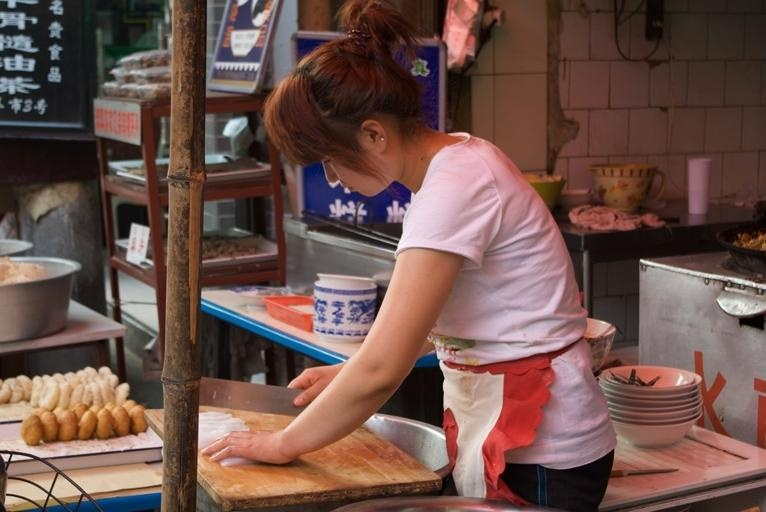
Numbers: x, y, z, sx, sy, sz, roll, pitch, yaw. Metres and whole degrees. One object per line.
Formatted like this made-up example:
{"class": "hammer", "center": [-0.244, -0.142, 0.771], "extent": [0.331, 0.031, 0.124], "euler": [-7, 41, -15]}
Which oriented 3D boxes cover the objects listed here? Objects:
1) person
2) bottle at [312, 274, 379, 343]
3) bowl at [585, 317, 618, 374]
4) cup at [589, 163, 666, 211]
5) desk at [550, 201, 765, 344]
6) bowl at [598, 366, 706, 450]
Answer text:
{"class": "person", "center": [0.145, 0.005, 1.902], "extent": [0.970, 1.298, 0.341], "euler": [0, 7, -14]}
{"class": "bottle", "center": [-0.151, 0.173, 2.841], "extent": [0.251, 0.252, 0.249], "euler": [-1, 7, -36]}
{"class": "bowl", "center": [0.704, 0.291, 2.439], "extent": [0.179, 0.157, 0.199], "euler": [1, -2, 8]}
{"class": "cup", "center": [1.580, -0.445, 4.721], "extent": [0.425, 0.256, 0.378], "euler": [3, 1, -3]}
{"class": "desk", "center": [1.217, 0.023, 3.235], "extent": [0.757, 0.731, 0.553], "euler": [-5, 18, -14]}
{"class": "bowl", "center": [0.816, 0.451, 2.298], "extent": [0.272, 0.154, 0.272], "euler": [-1, -1, 0]}
